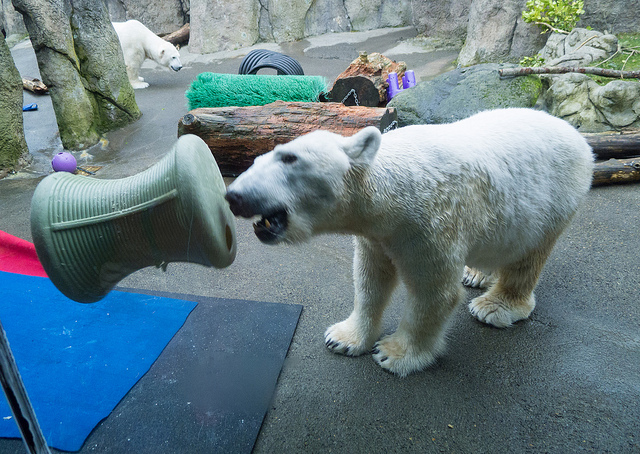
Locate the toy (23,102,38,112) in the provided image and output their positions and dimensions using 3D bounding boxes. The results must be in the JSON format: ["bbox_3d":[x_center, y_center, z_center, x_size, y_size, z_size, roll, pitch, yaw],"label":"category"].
[{"bbox_3d":[-4.613,-1.903,8.391,0.198,0.074,0.160,-3,33,-23],"label":"toy"}]

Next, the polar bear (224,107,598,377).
[{"bbox_3d":[0.680,0.081,3.480,2.241,1.579,0.711,-12,31,-20],"label":"polar bear"}]

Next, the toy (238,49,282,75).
[{"bbox_3d":[-0.913,-2.336,7.437,0.367,0.247,0.632,19,35,30],"label":"toy"}]

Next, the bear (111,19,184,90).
[{"bbox_3d":[-3.248,-3.235,9.827,0.728,1.079,1.067,24,38,37],"label":"bear"}]
